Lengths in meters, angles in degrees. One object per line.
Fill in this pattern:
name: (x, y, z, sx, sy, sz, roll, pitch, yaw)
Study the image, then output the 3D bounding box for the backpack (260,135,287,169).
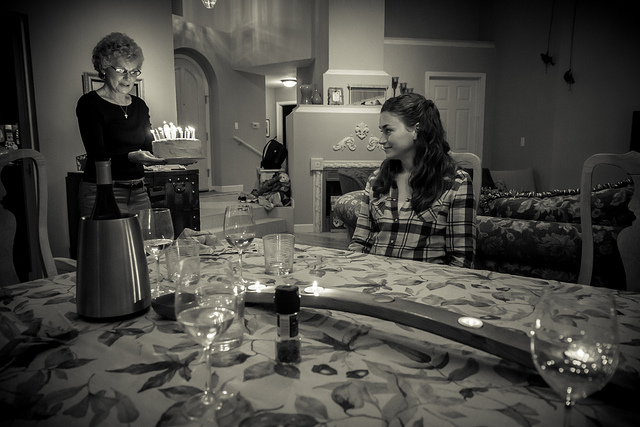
backpack: (-0.788, -1.015, 7.279, 0.433, 0.554, 0.423, 13, 0, 11)

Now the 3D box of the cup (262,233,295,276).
cup: (-0.167, 0.160, 1.612, 0.137, 0.157, 0.139, -7, 1, 0)

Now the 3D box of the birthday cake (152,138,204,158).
birthday cake: (-1.121, -0.522, 3.375, 0.242, 0.151, 0.454, 4, 9, 29)

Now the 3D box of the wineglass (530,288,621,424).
wineglass: (0.563, 0.289, 0.948, 0.174, 0.220, 0.077, 0, 8, 2)

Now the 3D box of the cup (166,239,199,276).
cup: (-0.432, 0.133, 1.332, 0.100, 0.115, 0.106, 0, -1, 0)
